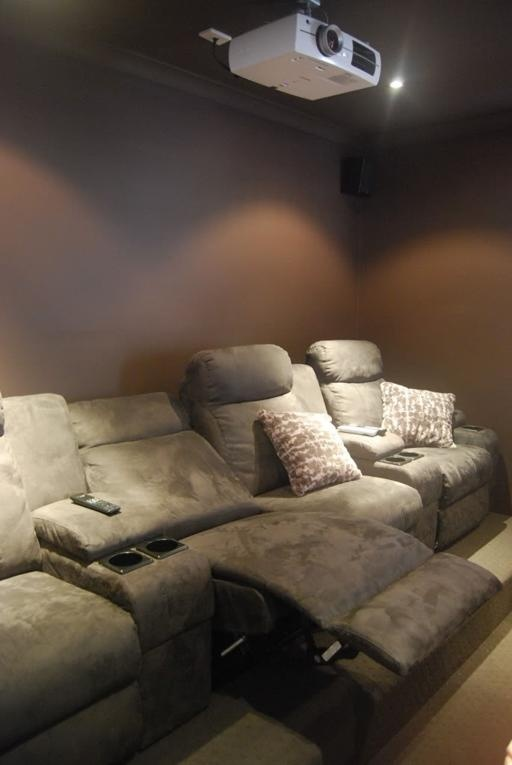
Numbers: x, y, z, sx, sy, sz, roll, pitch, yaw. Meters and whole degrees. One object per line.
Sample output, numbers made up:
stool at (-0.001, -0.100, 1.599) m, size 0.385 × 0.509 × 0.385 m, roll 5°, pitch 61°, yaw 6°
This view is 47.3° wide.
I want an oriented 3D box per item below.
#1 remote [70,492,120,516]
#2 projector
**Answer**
remote at (-0.513, 0.389, 1.883) m, size 0.153 × 0.016 × 0.065 m, roll 12°, pitch 14°, yaw 37°
projector at (0.196, -1.270, 2.304) m, size 0.428 × 0.139 × 0.457 m, roll 9°, pitch 8°, yaw 44°
